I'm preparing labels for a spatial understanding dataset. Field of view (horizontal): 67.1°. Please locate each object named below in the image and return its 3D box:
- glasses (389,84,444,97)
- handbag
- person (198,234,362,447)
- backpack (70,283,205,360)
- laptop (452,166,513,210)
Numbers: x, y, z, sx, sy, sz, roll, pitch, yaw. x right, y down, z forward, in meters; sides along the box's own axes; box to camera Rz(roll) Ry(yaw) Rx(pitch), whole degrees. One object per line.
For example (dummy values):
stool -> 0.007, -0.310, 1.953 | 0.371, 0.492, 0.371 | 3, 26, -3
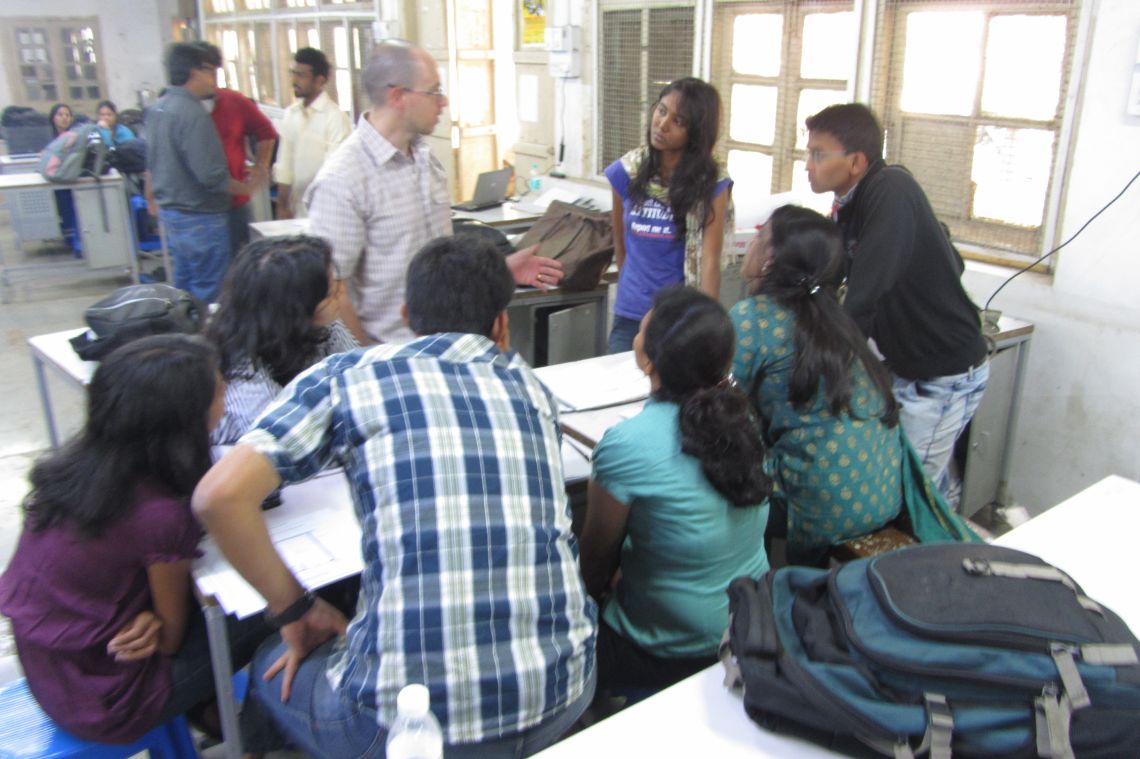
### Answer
glasses -> -0.556, -1.070, 3.174 | 0.216, 0.044, 0.060 | -14, 24, -36
handbag -> 0.033, -0.668, 4.153 | 0.427, 0.158, 0.433 | 30, 60, 27
person -> -0.850, -0.068, 2.767 | 0.481, 0.760, 0.518 | -6, 9, 7
backpack -> -1.493, -0.218, 2.989 | 0.396, 0.142, 0.282 | -21, 29, -30
laptop -> -0.552, -1.225, 5.405 | 0.295, 0.245, 0.350 | 21, 32, 38
